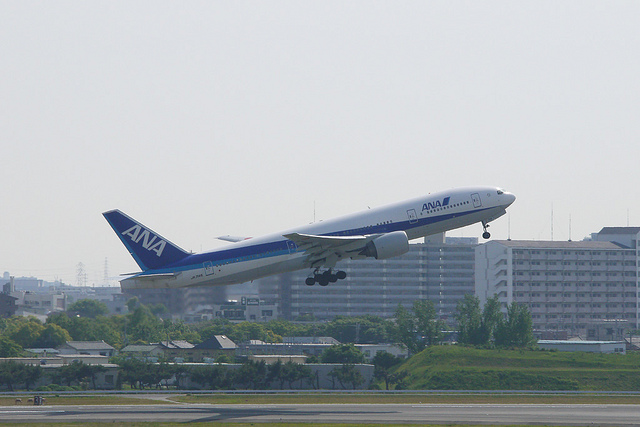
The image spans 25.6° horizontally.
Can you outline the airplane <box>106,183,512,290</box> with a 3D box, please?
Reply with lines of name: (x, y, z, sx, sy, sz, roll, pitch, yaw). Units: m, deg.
airplane: (-2.510, 3.534, 217.463, 56.642, 16.296, 3.001, 1, -12, 1)
